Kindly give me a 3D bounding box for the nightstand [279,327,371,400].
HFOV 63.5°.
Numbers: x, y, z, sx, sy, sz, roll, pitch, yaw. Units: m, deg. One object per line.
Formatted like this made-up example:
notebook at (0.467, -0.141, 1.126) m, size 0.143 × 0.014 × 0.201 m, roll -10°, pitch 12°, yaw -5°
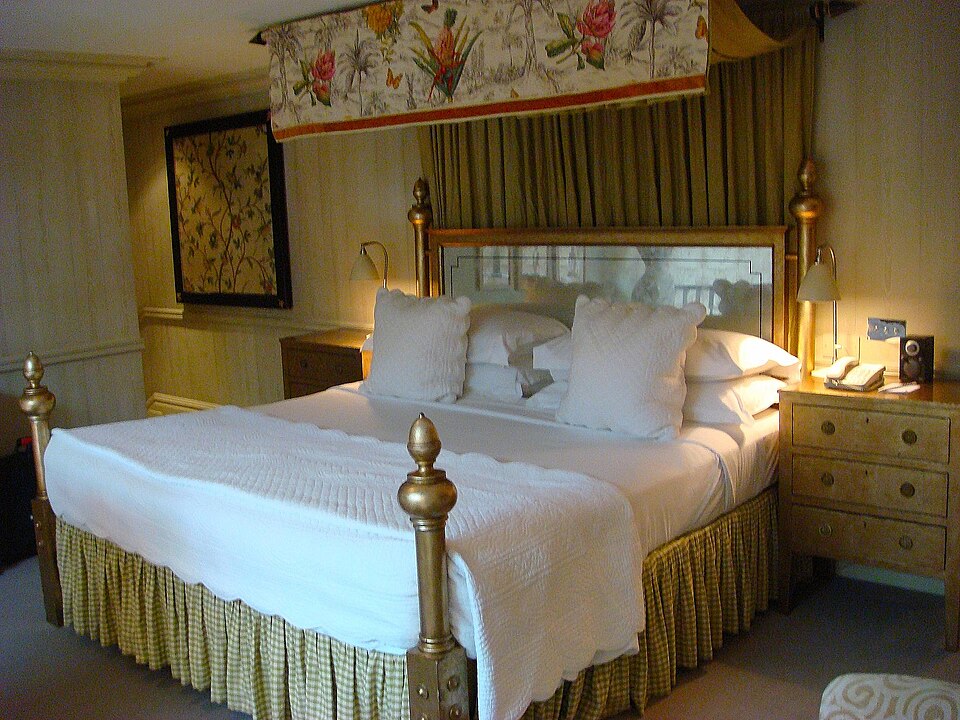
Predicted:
nightstand at (-1.049, 0.105, 5.576) m, size 0.570 × 0.634 × 0.463 m, roll 7°, pitch 23°, yaw 9°
